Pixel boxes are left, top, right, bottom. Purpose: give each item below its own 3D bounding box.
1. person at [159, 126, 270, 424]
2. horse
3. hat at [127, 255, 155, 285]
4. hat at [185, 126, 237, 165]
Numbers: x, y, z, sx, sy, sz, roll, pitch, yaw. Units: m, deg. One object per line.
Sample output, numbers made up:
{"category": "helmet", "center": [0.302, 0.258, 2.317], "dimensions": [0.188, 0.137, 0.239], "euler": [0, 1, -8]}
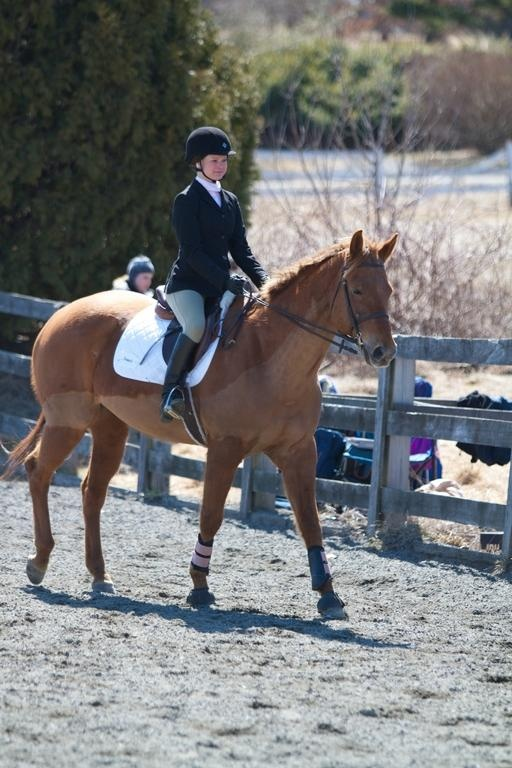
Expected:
{"category": "person", "center": [-0.233, -0.673, 8.083], "dimensions": [0.686, 1.818, 0.622], "euler": [12, 18, 27]}
{"category": "horse", "center": [-0.341, 0.191, 7.973], "dimensions": [2.633, 2.306, 0.708], "euler": [6, 9, 30]}
{"category": "hat", "center": [-0.972, -0.959, 10.923], "dimensions": [0.192, 0.252, 0.263], "euler": [0, 24, -3]}
{"category": "hat", "center": [-0.285, -1.461, 7.977], "dimensions": [0.255, 0.154, 0.185], "euler": [-1, 7, 29]}
